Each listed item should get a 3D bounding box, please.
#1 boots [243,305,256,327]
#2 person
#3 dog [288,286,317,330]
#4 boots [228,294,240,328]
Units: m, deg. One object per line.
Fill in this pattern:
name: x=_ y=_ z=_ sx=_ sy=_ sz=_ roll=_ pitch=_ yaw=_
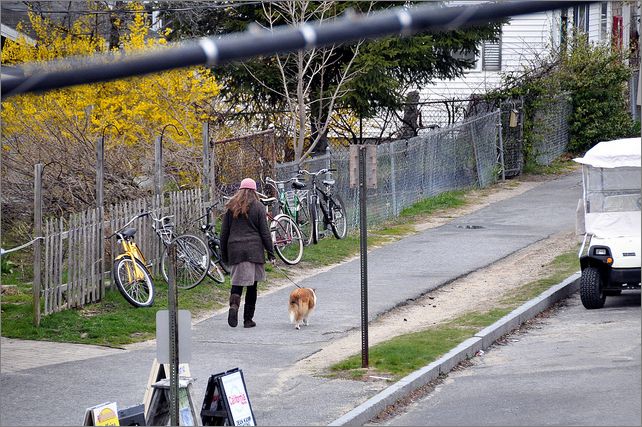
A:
boots: x=-1.254 y=1.803 z=16.269 sx=0.210 sy=0.371 sz=0.332 roll=-1 pitch=12 yaw=-5
person: x=-1.297 y=0.709 z=16.349 sx=0.942 sy=2.503 sz=1.037 roll=-1 pitch=12 yaw=-4
dog: x=-0.338 y=1.686 z=16.523 sx=0.434 sy=0.722 sz=1.303 roll=3 pitch=0 yaw=12
boots: x=-1.518 y=1.716 z=16.198 sx=0.199 sy=0.573 sz=0.380 roll=-1 pitch=12 yaw=-2
